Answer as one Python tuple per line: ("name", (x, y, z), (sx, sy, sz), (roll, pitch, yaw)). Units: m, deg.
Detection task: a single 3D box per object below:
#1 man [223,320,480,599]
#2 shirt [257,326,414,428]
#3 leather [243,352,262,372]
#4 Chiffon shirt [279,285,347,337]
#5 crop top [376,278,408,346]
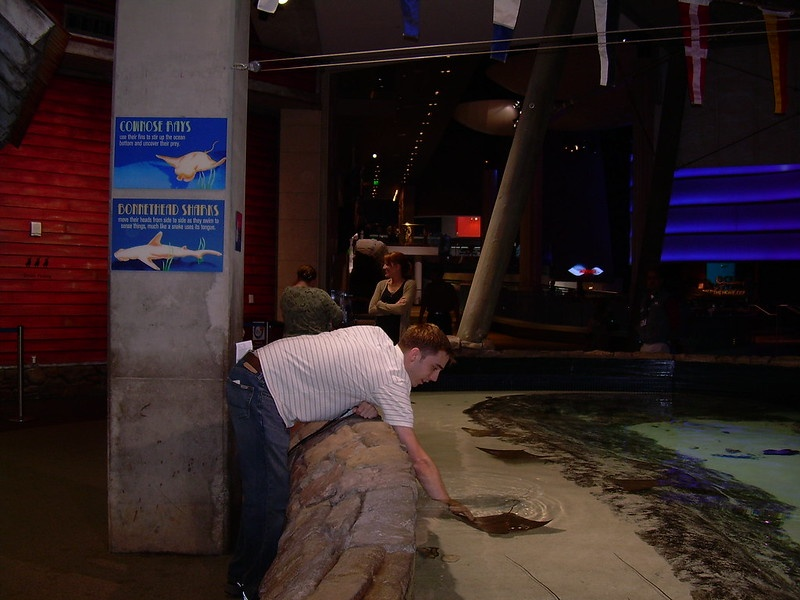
("man", (-0.168, 0.682, 4.127), (1.765, 1.941, 1.221), (0, 22, -9))
("shirt", (-0.384, 0.430, 3.565), (0.629, 0.254, 0.697), (-6, 33, -5))
("leather", (-0.862, 0.359, 3.720), (0.092, 0.120, 0.044), (-31, -5, 6))
("Chiffon shirt", (-0.833, 0.123, 5.761), (0.637, 0.491, 0.403), (0, 6, 14))
("crop top", (-0.011, 0.129, 7.025), (0.175, 0.616, 0.283), (7, -28, -28))
